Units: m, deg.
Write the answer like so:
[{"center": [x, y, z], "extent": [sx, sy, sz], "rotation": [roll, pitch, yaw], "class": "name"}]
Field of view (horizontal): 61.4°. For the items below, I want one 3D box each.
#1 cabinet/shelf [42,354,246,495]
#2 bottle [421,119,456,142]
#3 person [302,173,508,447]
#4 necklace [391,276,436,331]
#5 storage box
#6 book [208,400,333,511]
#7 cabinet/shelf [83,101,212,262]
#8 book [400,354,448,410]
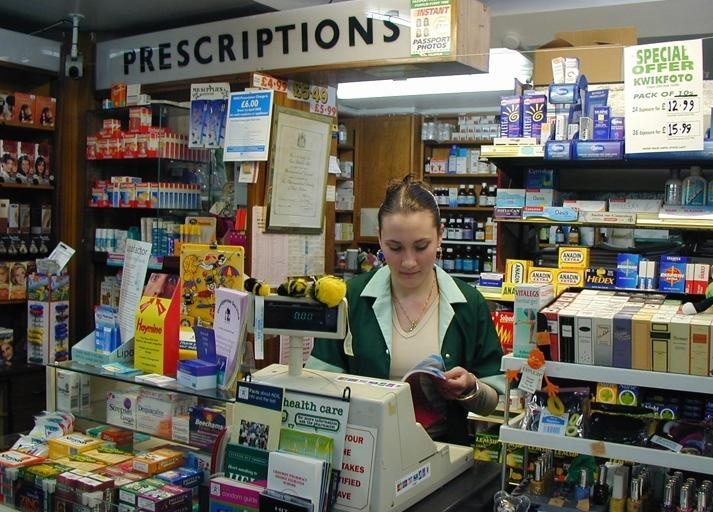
[{"center": [-0.918, 0.672, 2.547], "extent": [1.037, 0.332, 0.220], "rotation": [4, 4, 31], "class": "cabinet/shelf"}, {"center": [1.154, -1.802, 8.556], "extent": [0.340, 0.218, 0.339], "rotation": [0, 4, 0], "class": "bottle"}, {"center": [0.229, 0.395, 2.793], "extent": [0.930, 1.346, 0.841], "rotation": [1, 5, 21], "class": "person"}, {"center": [0.250, 0.222, 2.836], "extent": [0.142, 0.278, 0.048], "rotation": [-6, -25, 10], "class": "necklace"}, {"center": [1.659, -1.470, 4.387], "extent": [0.615, 0.391, 0.592], "rotation": [0, 2, 26], "class": "storage box"}, {"center": [-0.323, 0.681, 1.988], "extent": [0.498, 0.349, 0.161], "rotation": [4, 4, 32], "class": "book"}, {"center": [-1.958, -0.679, 5.529], "extent": [1.351, 1.475, 0.531], "rotation": [4, 5, 42], "class": "cabinet/shelf"}, {"center": [0.278, 0.509, 2.401], "extent": [0.116, 0.165, 0.218], "rotation": [19, 6, 22], "class": "book"}]
